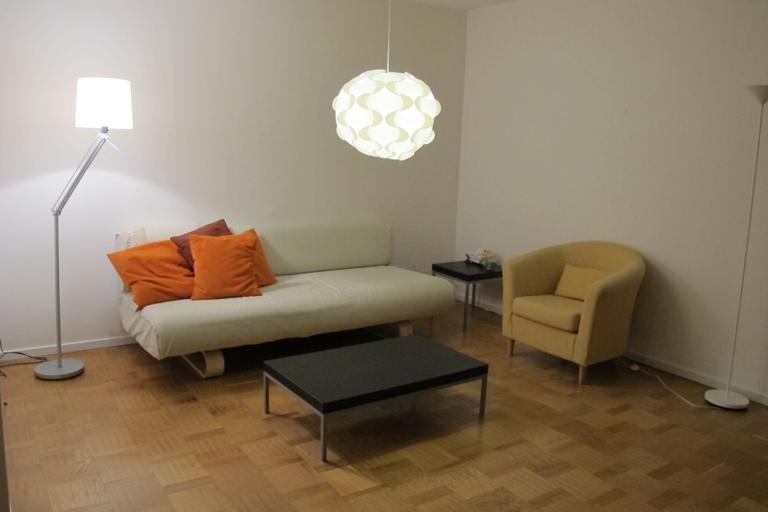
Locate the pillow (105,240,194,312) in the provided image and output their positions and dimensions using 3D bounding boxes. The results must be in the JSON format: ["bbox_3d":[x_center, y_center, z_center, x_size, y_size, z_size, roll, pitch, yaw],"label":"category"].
[{"bbox_3d":[-1.932,0.117,4.773,0.954,0.255,1.004,-10,-17,-18],"label":"pillow"}]

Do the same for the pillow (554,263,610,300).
[{"bbox_3d":[1.795,0.251,4.914,0.132,0.278,0.453,27,-9,-27],"label":"pillow"}]

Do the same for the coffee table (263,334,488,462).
[{"bbox_3d":[-0.051,0.971,3.913,1.445,0.450,0.706,-8,20,-22],"label":"coffee table"}]

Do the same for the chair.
[{"bbox_3d":[1.737,0.421,4.855,1.056,1.035,1.120,-4,12,-25],"label":"chair"}]

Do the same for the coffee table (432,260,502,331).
[{"bbox_3d":[0.862,0.378,5.946,0.710,0.685,0.706,-4,11,-27],"label":"coffee table"}]

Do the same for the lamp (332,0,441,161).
[{"bbox_3d":[-0.046,-1.039,3.798,0.634,1.245,0.603,2,13,-7],"label":"lamp"}]

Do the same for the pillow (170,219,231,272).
[{"bbox_3d":[-1.665,-0.196,4.970,0.552,0.163,0.569,-24,22,-10],"label":"pillow"}]

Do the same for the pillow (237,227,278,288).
[{"bbox_3d":[-1.147,0.022,4.872,0.210,0.547,0.492,-22,-6,1],"label":"pillow"}]

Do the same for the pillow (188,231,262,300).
[{"bbox_3d":[-1.366,0.096,4.585,0.561,0.564,0.207,0,-21,-32],"label":"pillow"}]
